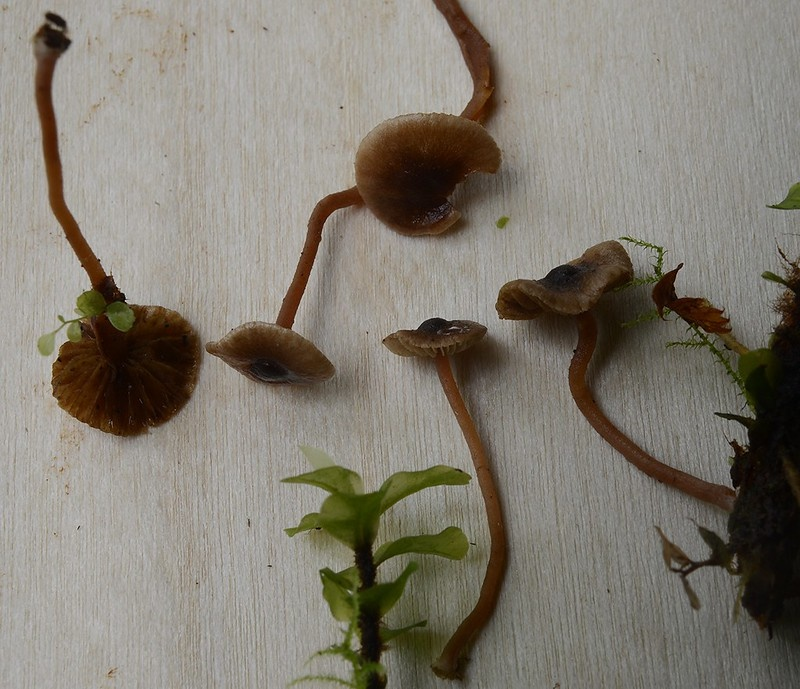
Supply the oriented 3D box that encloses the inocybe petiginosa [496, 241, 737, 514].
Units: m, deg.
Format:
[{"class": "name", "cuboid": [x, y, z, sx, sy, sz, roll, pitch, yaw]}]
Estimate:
[{"class": "inocybe petiginosa", "cuboid": [0.418, 0.082, 2.153, 0.301, 0.263, 0.528, -8, 64, -27]}]
